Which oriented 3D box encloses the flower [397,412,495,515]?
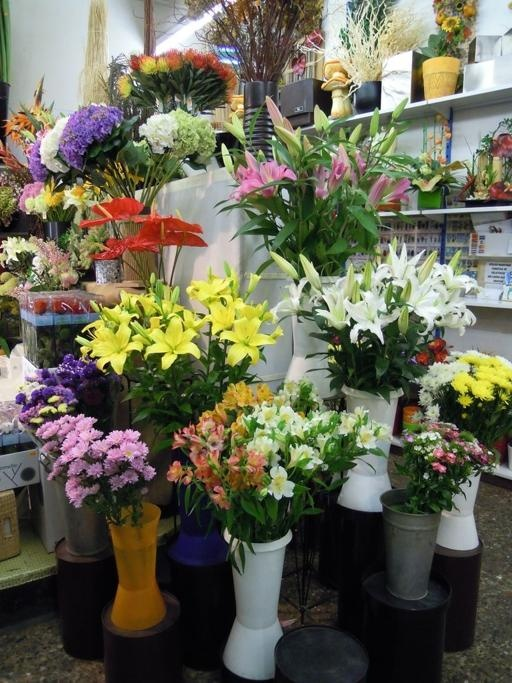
[{"bbox_3d":[0.360,0.273,1.108,0.167,0.191,0.191,11,-2,-24],"label":"flower"}]

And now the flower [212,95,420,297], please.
[{"bbox_3d":[0.079,-0.355,1.355,0.470,0.405,0.420,-3,13,-12],"label":"flower"}]

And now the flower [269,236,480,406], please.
[{"bbox_3d":[0.288,-0.052,1.220,0.425,0.287,0.372,1,2,-45],"label":"flower"}]

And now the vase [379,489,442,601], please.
[{"bbox_3d":[0.319,0.435,1.117,0.143,0.183,0.135,7,2,37],"label":"vase"}]

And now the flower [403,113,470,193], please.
[{"bbox_3d":[1.000,-1.021,2.938,0.309,0.454,0.303,-9,12,-27],"label":"flower"}]

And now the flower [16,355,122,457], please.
[{"bbox_3d":[-0.434,0.119,1.340,0.211,0.251,0.268,1,15,7],"label":"flower"}]

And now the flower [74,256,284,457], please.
[{"bbox_3d":[-0.158,0.086,1.188,0.386,0.394,0.333,-1,-5,-21],"label":"flower"}]

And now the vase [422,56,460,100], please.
[{"bbox_3d":[0.991,-1.400,2.852,0.196,0.217,0.213,2,12,16],"label":"vase"}]

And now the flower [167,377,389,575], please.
[{"bbox_3d":[-0.018,0.248,1.047,0.408,0.339,0.406,6,9,38],"label":"flower"}]
